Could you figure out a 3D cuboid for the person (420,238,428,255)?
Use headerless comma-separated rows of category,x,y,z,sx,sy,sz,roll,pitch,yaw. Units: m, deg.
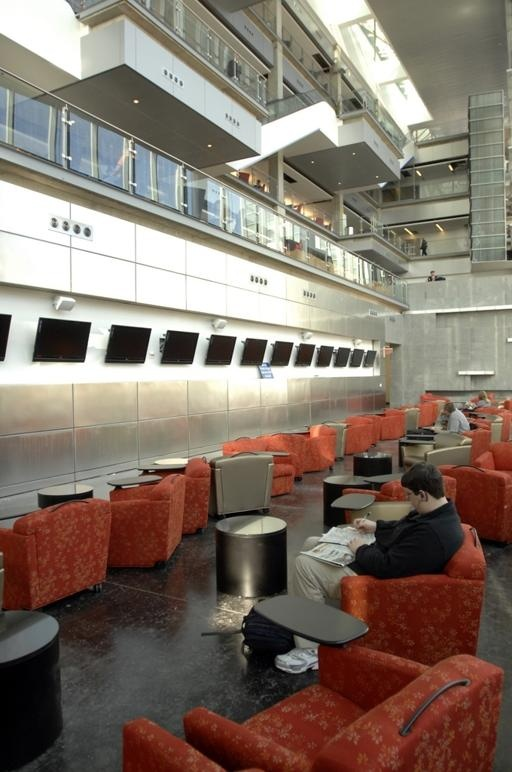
person,7.876,-6.443,25.802,0.349,0.754,0.173,-1,0,30

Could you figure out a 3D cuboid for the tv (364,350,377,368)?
tv,3.948,-0.933,19.008,0.163,0.575,0.645,13,11,28

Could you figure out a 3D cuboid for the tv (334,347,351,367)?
tv,2.584,-0.879,16.554,0.065,0.448,0.639,8,6,33

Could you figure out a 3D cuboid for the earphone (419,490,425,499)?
earphone,0.832,0.542,2.751,0.029,0.040,0.009,-1,0,19

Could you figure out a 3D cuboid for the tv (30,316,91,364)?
tv,-2.511,-0.582,6.998,0.064,0.444,0.652,16,10,27

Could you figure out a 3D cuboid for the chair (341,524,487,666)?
chair,0.775,0.985,2.879,0.659,0.656,0.667,-5,18,3

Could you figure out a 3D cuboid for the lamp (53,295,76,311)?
lamp,-2.452,-1.005,7.042,0.187,0.186,0.253,-37,-16,34

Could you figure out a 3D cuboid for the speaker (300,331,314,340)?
speaker,1.298,-1.259,14.006,0.187,0.268,0.239,3,7,-4

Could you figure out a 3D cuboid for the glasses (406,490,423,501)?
glasses,0.814,0.561,2.810,0.066,0.037,0.052,1,0,32

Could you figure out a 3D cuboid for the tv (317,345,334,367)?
tv,1.913,-0.840,15.311,0.065,0.443,0.632,7,8,31

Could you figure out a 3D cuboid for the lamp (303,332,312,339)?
lamp,1.323,-1.253,14.022,0.203,0.182,0.167,-3,22,1

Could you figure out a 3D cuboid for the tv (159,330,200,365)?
tv,-1.298,-0.645,9.252,0.169,0.509,0.726,18,14,31

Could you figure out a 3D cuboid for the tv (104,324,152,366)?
tv,-1.925,-0.618,8.152,0.070,0.462,0.656,14,9,24

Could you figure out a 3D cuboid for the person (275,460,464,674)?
person,0.612,0.971,2.990,0.910,1.190,0.528,7,8,26

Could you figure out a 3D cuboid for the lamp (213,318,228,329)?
lamp,-0.685,-1.175,10.359,0.108,0.140,0.198,36,7,14
